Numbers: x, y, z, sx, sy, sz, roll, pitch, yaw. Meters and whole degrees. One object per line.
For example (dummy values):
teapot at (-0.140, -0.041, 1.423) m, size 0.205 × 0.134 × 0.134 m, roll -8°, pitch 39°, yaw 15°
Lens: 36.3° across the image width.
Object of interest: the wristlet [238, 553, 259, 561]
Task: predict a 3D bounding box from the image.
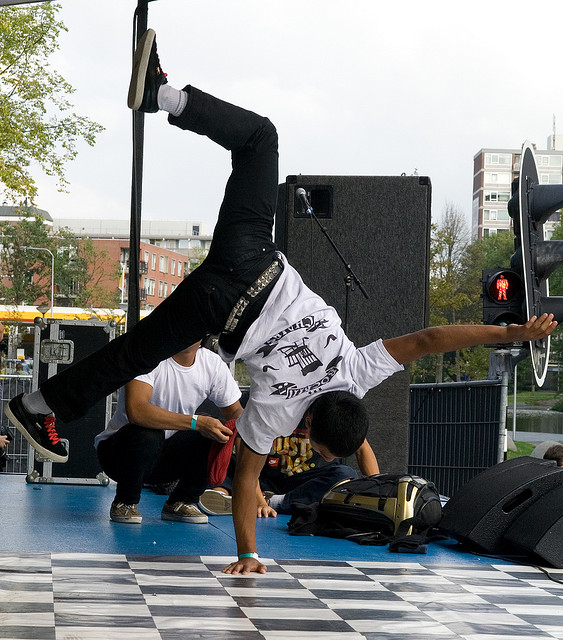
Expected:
wristlet at (-0.114, 0.884, 3.217) m, size 0.050 × 0.016 × 0.044 m, roll 2°, pitch -7°, yaw -21°

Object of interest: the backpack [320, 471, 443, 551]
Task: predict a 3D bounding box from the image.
backpack at (0.492, 0.913, 4.260) m, size 0.686 × 0.240 × 0.537 m, roll -8°, pitch -5°, yaw 43°

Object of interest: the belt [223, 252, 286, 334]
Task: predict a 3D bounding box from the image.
belt at (-0.112, -0.097, 3.172) m, size 0.080 × 0.262 × 0.204 m, roll 40°, pitch -5°, yaw -5°

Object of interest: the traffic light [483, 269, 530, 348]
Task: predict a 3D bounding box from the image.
traffic light at (1.329, -0.149, 5.145) m, size 0.272 × 0.209 × 0.451 m, roll 1°, pitch 13°, yaw 14°

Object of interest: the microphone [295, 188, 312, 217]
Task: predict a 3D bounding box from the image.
microphone at (0.175, -0.771, 5.755) m, size 0.085 × 0.219 × 0.082 m, roll -27°, pitch 42°, yaw 0°
